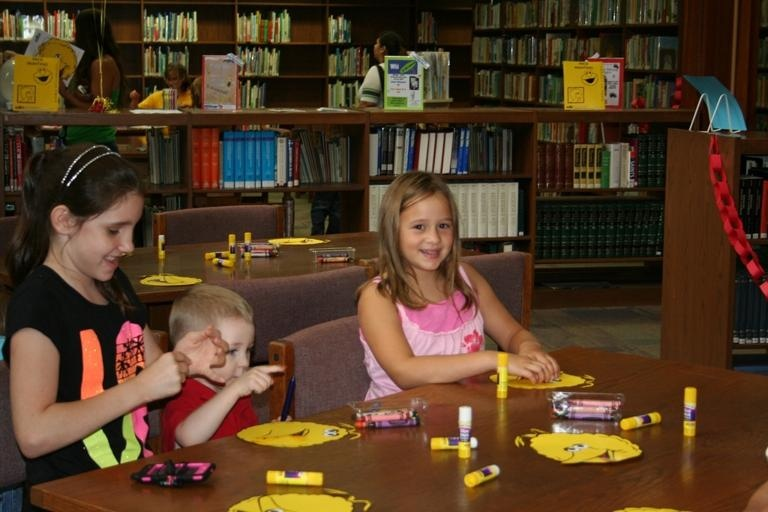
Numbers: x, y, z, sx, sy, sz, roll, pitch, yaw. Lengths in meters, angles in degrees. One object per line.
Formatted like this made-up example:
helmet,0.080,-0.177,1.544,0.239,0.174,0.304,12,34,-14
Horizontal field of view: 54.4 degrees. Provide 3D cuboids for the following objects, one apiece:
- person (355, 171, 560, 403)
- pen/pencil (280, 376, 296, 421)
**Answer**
person,0.191,0.140,2.271,0.541,0.697,0.693,-9,10,-37
pen/pencil,-0.251,0.382,2.033,0.023,0.141,0.020,17,-19,-10
